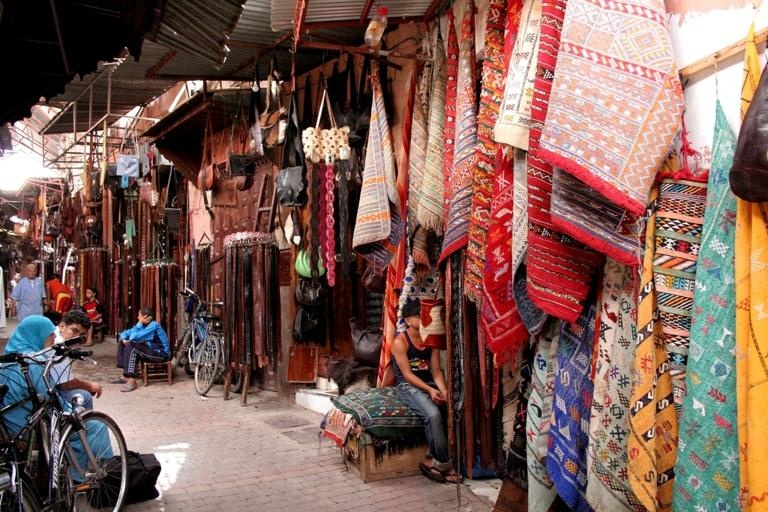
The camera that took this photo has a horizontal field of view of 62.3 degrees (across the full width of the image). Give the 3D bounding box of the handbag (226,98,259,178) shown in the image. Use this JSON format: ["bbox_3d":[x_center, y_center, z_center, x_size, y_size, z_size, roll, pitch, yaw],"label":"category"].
[{"bbox_3d":[-1.886,-1.565,8.444,0.382,1.079,2.235,-1,2,-12],"label":"handbag"}]

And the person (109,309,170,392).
[{"bbox_3d":[-3.819,1.447,10.083,0.756,1.254,0.707,1,-1,-18],"label":"person"}]

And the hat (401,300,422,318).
[{"bbox_3d":[0.218,0.427,5.102,0.147,0.076,0.114,-29,11,27],"label":"hat"}]

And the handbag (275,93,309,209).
[{"bbox_3d":[-0.944,-1.044,6.617,0.283,1.025,0.668,-1,2,-14],"label":"handbag"}]

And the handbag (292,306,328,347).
[{"bbox_3d":[-0.886,0.854,7.599,0.316,0.485,0.162,4,-7,-8],"label":"handbag"}]

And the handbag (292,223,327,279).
[{"bbox_3d":[-0.886,0.019,7.377,0.342,0.507,0.333,-4,8,36],"label":"handbag"}]

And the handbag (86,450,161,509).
[{"bbox_3d":[-2.035,1.787,5.017,0.423,0.170,0.319,1,13,-11],"label":"handbag"}]

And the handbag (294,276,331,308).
[{"bbox_3d":[-0.859,0.444,7.491,0.368,0.417,0.260,-1,3,-4],"label":"handbag"}]

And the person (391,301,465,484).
[{"bbox_3d":[0.344,1.248,5.539,0.568,1.338,0.339,0,2,14],"label":"person"}]

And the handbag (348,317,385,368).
[{"bbox_3d":[-0.135,0.978,7.041,0.463,0.628,0.327,-7,-16,20],"label":"handbag"}]

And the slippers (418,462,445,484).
[{"bbox_3d":[0.415,1.881,5.497,0.079,0.104,0.238,0,1,-34],"label":"slippers"}]

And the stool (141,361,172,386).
[{"bbox_3d":[-3.700,1.905,10.364,0.428,0.381,0.457,0,3,-23],"label":"stool"}]

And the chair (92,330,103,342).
[{"bbox_3d":[-7.535,2.113,16.828,0.239,0.391,0.278,3,9,0],"label":"chair"}]
